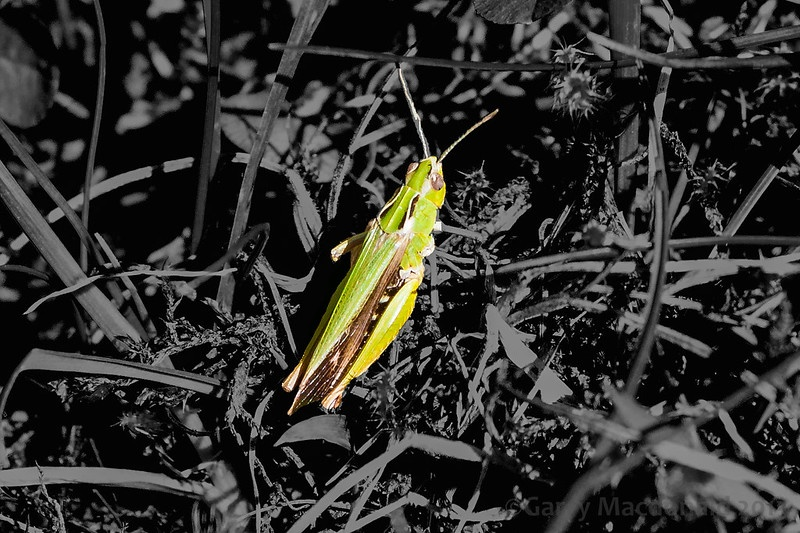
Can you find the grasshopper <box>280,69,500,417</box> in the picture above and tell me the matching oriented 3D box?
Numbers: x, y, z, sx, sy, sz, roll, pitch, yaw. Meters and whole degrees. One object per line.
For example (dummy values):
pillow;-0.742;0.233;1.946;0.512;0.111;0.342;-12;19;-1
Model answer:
grasshopper;-0.011;-0.012;0.491;0.103;0.209;0.083;5;22;-20
